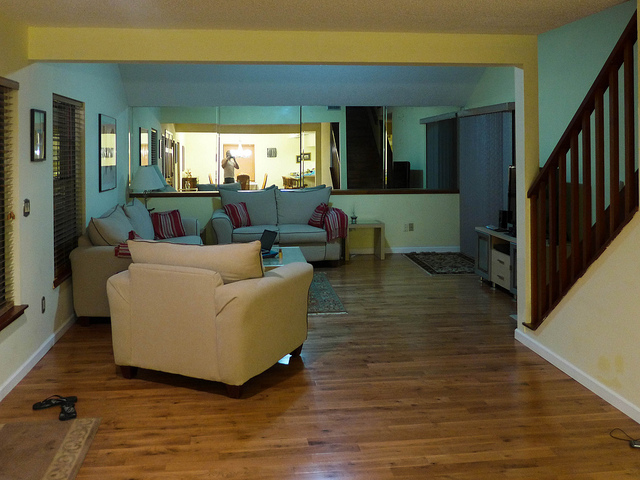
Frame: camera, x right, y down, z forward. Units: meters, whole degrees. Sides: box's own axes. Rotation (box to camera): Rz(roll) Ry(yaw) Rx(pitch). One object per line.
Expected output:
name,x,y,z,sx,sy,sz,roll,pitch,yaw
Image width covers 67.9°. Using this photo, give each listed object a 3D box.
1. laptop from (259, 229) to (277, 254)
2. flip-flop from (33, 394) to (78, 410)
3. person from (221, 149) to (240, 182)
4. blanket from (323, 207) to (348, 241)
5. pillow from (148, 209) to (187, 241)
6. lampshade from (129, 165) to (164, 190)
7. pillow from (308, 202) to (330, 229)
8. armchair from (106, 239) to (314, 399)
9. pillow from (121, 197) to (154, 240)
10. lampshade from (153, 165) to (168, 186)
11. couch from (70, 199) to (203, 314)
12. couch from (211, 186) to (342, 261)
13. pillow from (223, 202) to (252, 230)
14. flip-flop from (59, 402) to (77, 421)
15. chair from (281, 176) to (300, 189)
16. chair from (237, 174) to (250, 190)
laptop,-0.641,0.027,6.012,0.237,0.209,0.274,-1,6,-41
flip-flop,-1.881,1.147,3.365,0.205,0.052,0.108,3,-3,-21
person,-1.593,-1.131,8.410,0.306,0.832,0.225,-2,8,-17
blanket,0.253,-0.234,7.516,0.341,0.470,0.166,0,-8,-11
pillow,-2.166,-0.195,6.742,0.497,0.497,0.149,-14,0,-44
lampshade,-2.599,-0.901,7.090,0.366,0.350,0.367,0,10,-6
pillow,-0.030,-0.362,7.598,0.110,0.365,0.311,14,8,-40
armchair,-0.887,0.561,3.646,1.481,1.142,0.683,-2,11,3
pillow,-2.357,-0.256,6.098,0.194,0.442,0.573,-9,24,-5
lampshade,-2.567,-1.007,7.643,0.075,0.343,0.306,-19,9,3
couch,-1.833,0.160,4.544,0.549,0.555,1.249,1,12,-5
couch,-0.720,-0.180,7.808,2.068,1.301,1.068,0,7,-5
pillow,-1.322,-0.395,7.635,0.125,0.402,0.410,-29,-19,34
flip-flop,-1.709,1.181,3.239,0.141,0.144,0.067,0,-4,1
chair,-0.519,-1.023,8.615,0.225,0.291,0.235,0,7,-3
chair,-1.364,-1.026,8.618,0.216,0.305,0.236,0,14,-6
